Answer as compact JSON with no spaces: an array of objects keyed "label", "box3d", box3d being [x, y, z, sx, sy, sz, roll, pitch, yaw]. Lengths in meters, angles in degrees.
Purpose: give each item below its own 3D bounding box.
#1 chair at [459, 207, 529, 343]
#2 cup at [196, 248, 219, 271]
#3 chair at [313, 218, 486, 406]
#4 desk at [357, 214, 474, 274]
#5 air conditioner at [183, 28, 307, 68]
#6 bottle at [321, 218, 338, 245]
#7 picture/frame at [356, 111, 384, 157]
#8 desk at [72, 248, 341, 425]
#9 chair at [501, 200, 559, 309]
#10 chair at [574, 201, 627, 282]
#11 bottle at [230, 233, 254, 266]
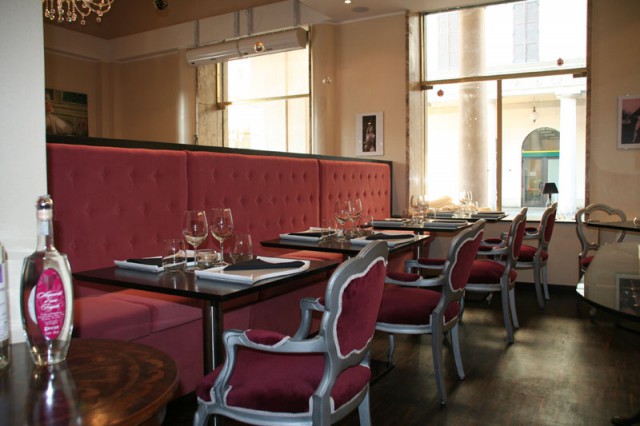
[{"label":"chair","box3d":[1.573,0.519,4.598,0.664,1.159,0.637,1,3,35]},{"label":"cup","box3d":[-0.664,0.273,2.881,0.100,0.086,0.101,-1,5,0]},{"label":"chair","box3d":[0.775,0.621,3.954,1.074,1.551,1.057,3,3,33]},{"label":"desk","box3d":[0.949,0.303,4.763,0.716,0.421,0.749,4,5,0]},{"label":"air conditioner","box3d":[-1.287,-2.723,8.069,2.258,0.348,0.404,1,29,28]},{"label":"bottle","box3d":[0.078,0.154,3.863,0.145,0.264,0.158,-1,2,0]},{"label":"picture/frame","box3d":[0.772,-1.215,7.398,0.609,0.932,0.085,2,6,28]},{"label":"desk","box3d":[-0.567,0.454,3.000,1.064,1.123,1.118,-1,-4,29]},{"label":"chair","box3d":[2.324,0.400,5.550,0.603,1.067,0.620,2,7,27]},{"label":"chair","box3d":[3.156,0.406,5.422,0.614,0.982,0.579,1,4,43]},{"label":"bottle","box3d":[-0.464,0.221,3.076,0.156,0.224,0.158,-3,-1,0]}]
